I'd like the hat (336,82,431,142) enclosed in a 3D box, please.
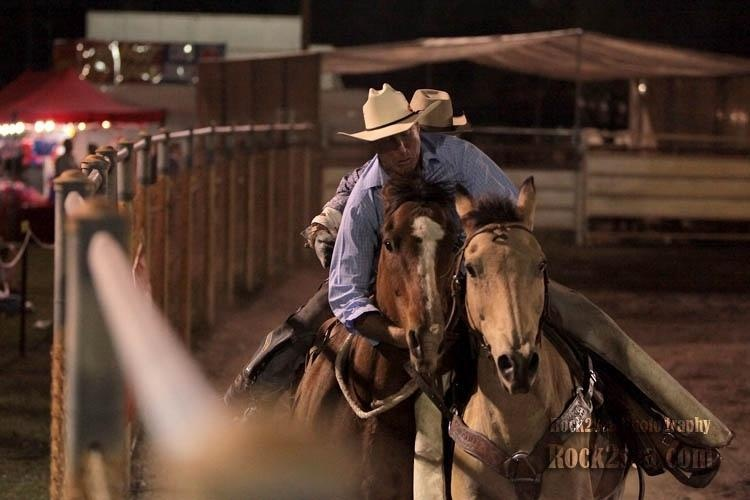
[{"bbox_3d":[0.138,-1.616,16.212,0.646,0.272,0.707,-17,19,18],"label":"hat"}]

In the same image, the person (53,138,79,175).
[{"bbox_3d":[-5.722,-1.673,26.091,0.381,0.780,1.379,-1,14,-13],"label":"person"}]
